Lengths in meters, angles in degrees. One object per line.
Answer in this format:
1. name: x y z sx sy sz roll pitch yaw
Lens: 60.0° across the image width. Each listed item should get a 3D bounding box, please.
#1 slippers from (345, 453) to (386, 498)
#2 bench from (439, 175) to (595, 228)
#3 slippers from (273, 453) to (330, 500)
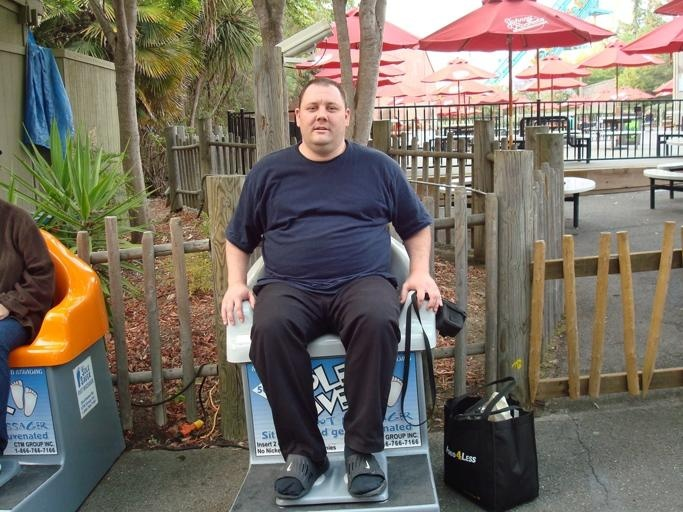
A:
1. slippers: 0.112 1.078 3.016 0.195 0.156 0.394 -5 9 -2
2. bench: 1.556 -0.509 5.414 0.970 0.287 1.085 0 7 14
3. slippers: -0.224 1.085 2.970 0.119 0.107 0.275 1 9 24
